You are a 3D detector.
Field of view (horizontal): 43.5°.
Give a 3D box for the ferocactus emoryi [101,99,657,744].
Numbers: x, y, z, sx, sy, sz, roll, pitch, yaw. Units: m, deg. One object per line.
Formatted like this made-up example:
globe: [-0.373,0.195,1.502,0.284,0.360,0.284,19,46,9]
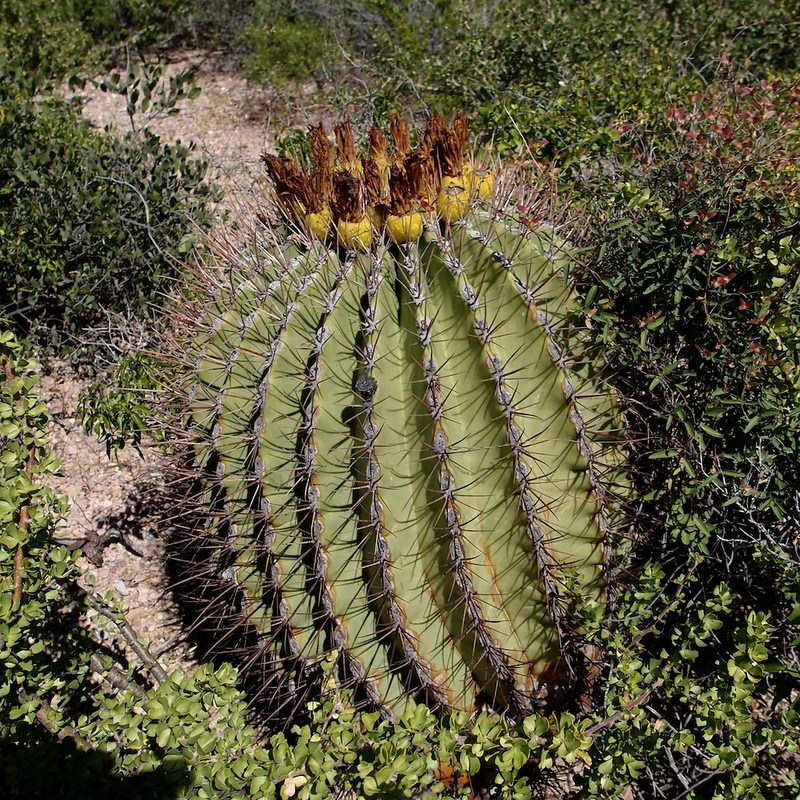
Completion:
ferocactus emoryi: [-0.061,0.203,4.092,1.711,1.820,2.139,-16,90,22]
